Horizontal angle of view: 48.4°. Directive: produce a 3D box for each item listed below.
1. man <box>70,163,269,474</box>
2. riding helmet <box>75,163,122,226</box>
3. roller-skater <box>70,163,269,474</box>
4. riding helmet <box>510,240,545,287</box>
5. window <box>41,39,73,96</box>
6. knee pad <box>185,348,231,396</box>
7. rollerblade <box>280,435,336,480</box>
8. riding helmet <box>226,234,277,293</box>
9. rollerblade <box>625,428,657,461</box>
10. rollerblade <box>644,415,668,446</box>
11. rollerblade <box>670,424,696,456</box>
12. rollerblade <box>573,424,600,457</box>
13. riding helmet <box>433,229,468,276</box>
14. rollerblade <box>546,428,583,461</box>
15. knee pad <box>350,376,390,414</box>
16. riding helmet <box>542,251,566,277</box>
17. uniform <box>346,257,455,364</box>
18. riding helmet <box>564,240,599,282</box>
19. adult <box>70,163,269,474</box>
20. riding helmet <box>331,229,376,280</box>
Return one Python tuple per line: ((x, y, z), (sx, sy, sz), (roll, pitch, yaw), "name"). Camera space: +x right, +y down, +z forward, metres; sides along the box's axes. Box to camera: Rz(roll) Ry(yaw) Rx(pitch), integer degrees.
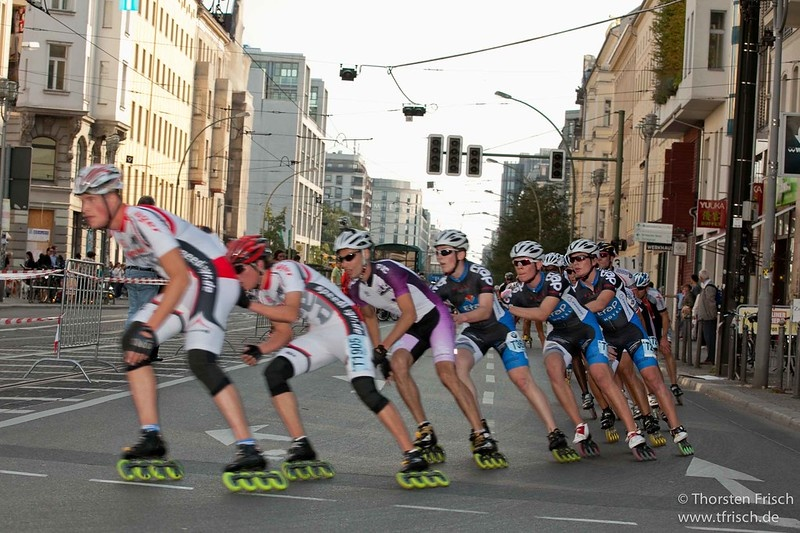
((-1.990, 0.443, 7.794), (1.512, 2.650, 0.745), (-1, 3, -12), "man")
((-2.649, -0.585, 7.909), (0.422, 0.517, 0.538), (-6, -11, 8), "riding helmet")
((-1.989, 0.443, 7.794), (1.512, 2.650, 0.745), (-1, 3, -12), "roller-skater")
((1.464, -0.029, 10.622), (0.378, 0.469, 0.507), (-1, -8, 36), "riding helmet")
((-19.573, -11.306, 50.857), (1.202, 2.702, 1.297), (-1, 3, -14), "window")
((-1.671, 0.883, 7.743), (0.289, 0.449, 0.186), (-19, 8, 24), "knee pad")
((-0.735, 1.807, 8.418), (0.724, 0.373, 0.230), (5, -6, -36), "rollerblade")
((-1.442, -0.050, 8.279), (0.503, 0.468, 0.382), (-2, -1, -42), "riding helmet")
((2.750, 2.038, 10.277), (0.249, 0.131, 0.384), (-7, 45, -28), "rollerblade")
((3.262, 2.103, 11.508), (0.172, 0.575, 0.258), (-15, -31, 4), "rollerblade")
((3.471, 2.098, 10.809), (0.168, 0.503, 0.213), (-27, -31, 6), "rollerblade")
((2.082, 1.942, 10.379), (0.150, 0.293, 0.449), (-1, -13, -26), "rollerblade")
((0.583, -0.271, 9.907), (0.300, 0.350, 0.234), (-3, 14, -9), "riding helmet")
((1.823, 2.004, 9.918), (0.226, 0.254, 0.583), (-23, 11, -12), "rollerblade")
((-0.279, 1.151, 8.219), (0.392, 0.245, 0.149), (37, -10, 10), "knee pad")
((2.483, -0.041, 14.458), (0.316, 0.371, 0.401), (9, 38, 17), "riding helmet")
((0.073, 0.510, 9.519), (0.905, 1.291, 0.687), (-17, 6, 44), "uniform")
((2.270, -0.057, 11.565), (0.480, 0.593, 0.615), (-8, -2, 28), "riding helmet")
((-1.975, 0.466, 7.784), (1.547, 2.694, 0.725), (-1, 3, -9), "adult")
((-0.523, -0.165, 8.777), (0.332, 0.383, 0.410), (-9, -26, -1), "riding helmet")
